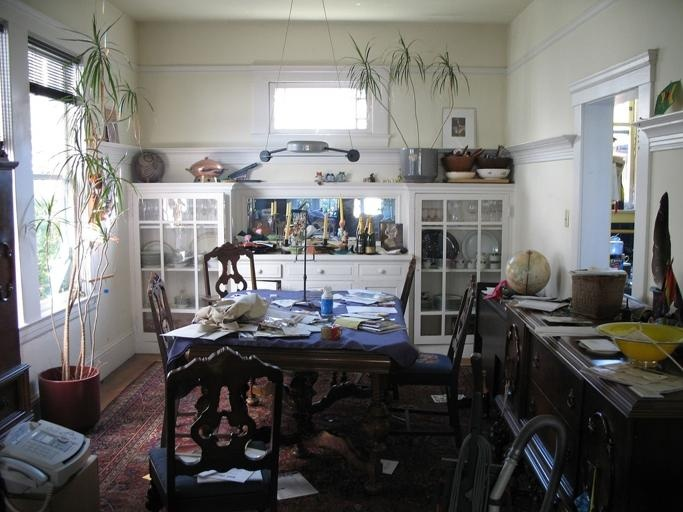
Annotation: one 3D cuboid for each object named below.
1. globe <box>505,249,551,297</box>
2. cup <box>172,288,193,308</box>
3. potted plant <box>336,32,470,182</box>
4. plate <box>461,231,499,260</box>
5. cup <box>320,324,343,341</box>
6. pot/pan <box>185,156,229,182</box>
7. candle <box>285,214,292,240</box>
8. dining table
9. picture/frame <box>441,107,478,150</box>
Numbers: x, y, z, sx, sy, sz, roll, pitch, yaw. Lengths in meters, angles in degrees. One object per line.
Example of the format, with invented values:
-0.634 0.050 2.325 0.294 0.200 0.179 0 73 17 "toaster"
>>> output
1.436 0.145 4.142 0.317 0.393 0.340 3 -5 9 "globe"
-1.636 0.446 5.376 0.180 0.117 0.187 1 6 0 "cup"
0.683 -1.526 5.373 1.247 1.525 0.479 1 6 13 "potted plant"
1.451 -0.112 5.246 0.300 0.323 0.050 -5 8 2 "plate"
-0.051 0.466 3.109 0.070 0.062 0.096 1 -1 43 "cup"
-1.372 -0.867 5.418 0.311 0.248 0.276 0 6 4 "pot/pan"
-0.560 -0.318 5.486 0.071 0.278 0.270 -1 6 -6 "candle"
-0.178 0.662 3.212 1.002 0.501 1.351 2 5 6 "dining table"
1.234 -1.365 5.456 0.452 0.583 0.044 1 1 -1 "picture/frame"
